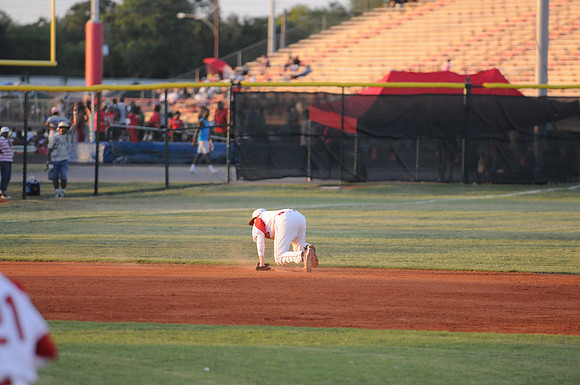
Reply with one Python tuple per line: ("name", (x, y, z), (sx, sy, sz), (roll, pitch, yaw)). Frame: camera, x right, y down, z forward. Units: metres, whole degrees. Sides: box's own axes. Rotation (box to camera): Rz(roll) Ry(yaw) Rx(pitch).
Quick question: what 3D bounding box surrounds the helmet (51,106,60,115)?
("helmet", (-9.101, -3.163, 63.055), (0.342, 0.283, 0.266), (-15, 21, -42))
